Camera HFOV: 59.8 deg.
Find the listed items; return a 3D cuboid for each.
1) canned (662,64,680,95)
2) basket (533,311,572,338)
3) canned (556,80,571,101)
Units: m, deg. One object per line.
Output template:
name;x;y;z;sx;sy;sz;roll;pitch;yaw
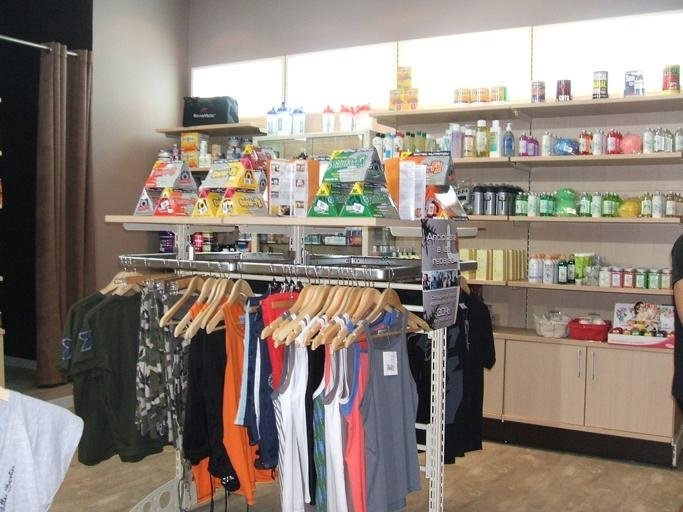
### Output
canned;2.587;-1.373;4.648;0.124;0.229;0.147;3;7;23
basket;1.795;0.569;5.061;0.275;0.159;0.460;3;8;22
canned;1.841;-1.361;4.920;0.114;0.193;0.181;2;7;18
